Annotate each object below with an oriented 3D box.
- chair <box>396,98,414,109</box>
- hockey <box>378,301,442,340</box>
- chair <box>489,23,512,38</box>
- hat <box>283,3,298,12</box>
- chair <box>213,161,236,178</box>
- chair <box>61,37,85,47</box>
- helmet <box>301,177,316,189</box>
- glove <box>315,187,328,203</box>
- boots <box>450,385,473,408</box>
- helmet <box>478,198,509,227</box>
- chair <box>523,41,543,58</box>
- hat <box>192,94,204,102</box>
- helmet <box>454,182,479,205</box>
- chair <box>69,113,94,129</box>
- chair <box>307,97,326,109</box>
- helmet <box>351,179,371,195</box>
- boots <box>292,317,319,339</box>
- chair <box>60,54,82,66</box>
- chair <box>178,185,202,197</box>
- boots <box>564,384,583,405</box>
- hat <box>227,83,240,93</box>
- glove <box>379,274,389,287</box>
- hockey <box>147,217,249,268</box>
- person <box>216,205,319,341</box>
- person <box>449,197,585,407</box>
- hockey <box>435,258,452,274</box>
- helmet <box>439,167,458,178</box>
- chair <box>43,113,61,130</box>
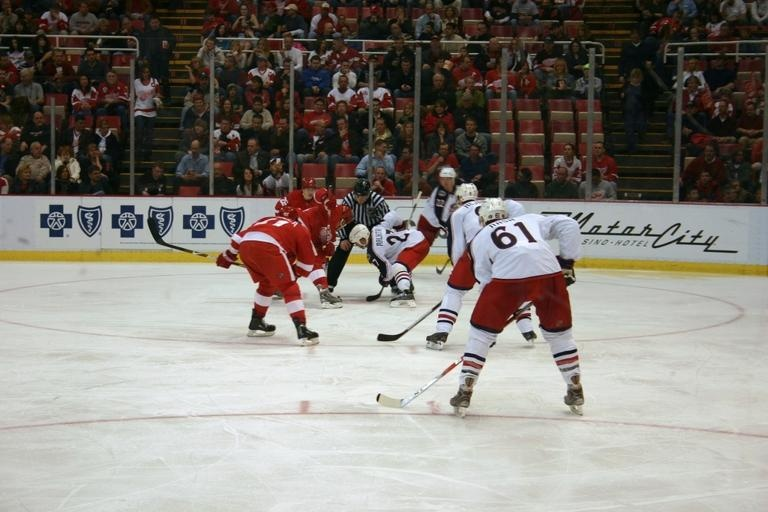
[{"bbox_3d":[0.302,-2.233,15.433,0.204,0.124,0.179,3,13,7],"label":"chair"},{"bbox_3d":[0.276,0.677,10.805,0.932,0.162,0.111,-42,1,38],"label":"hockey"},{"bbox_3d":[1.985,-3.766,17.810,0.337,0.369,0.344,2,8,3],"label":"chair"},{"bbox_3d":[-1.492,-4.063,17.276,0.148,0.059,0.196,3,0,33],"label":"hat"},{"bbox_3d":[-2.359,-1.292,15.699,0.439,0.229,0.205,2,11,1],"label":"chair"},{"bbox_3d":[-5.115,-3.518,17.401,0.316,0.205,0.300,-1,-5,-12],"label":"chair"},{"bbox_3d":[-0.871,-0.850,12.386,0.166,0.087,0.198,0,9,-10],"label":"helmet"},{"bbox_3d":[-0.712,-0.686,12.187,0.176,0.140,0.175,20,28,34],"label":"glove"},{"bbox_3d":[0.658,1.208,9.026,0.179,0.203,0.173,0,3,3],"label":"boots"},{"bbox_3d":[0.944,-0.387,9.378,0.251,0.237,0.267,1,13,0],"label":"helmet"},{"bbox_3d":[2.194,-3.017,15.546,0.365,0.270,0.233,0,23,4],"label":"chair"},{"bbox_3d":[-2.715,-2.297,15.422,0.113,0.113,0.120,1,-10,-1],"label":"hat"},{"bbox_3d":[0.885,-0.644,11.017,0.221,0.213,0.250,2,12,-4],"label":"helmet"},{"bbox_3d":[-4.479,-2.004,15.691,0.325,0.200,0.294,5,-17,-8],"label":"chair"},{"bbox_3d":[-1.001,-2.235,15.419,0.277,0.158,0.109,2,-3,0],"label":"chair"},{"bbox_3d":[-0.278,-0.855,13.264,0.208,0.179,0.213,2,-7,0],"label":"helmet"},{"bbox_3d":[-0.780,0.754,10.579,0.232,0.232,0.151,2,3,36],"label":"boots"},{"bbox_3d":[-4.760,-2.999,15.977,0.339,0.175,0.207,1,4,-9],"label":"chair"},{"bbox_3d":[-2.910,-0.959,15.781,0.373,0.192,0.174,0,-6,-4],"label":"chair"},{"bbox_3d":[1.637,1.200,9.073,0.167,0.193,0.128,0,3,6],"label":"boots"},{"bbox_3d":[-2.176,-2.431,15.398,0.229,0.164,0.047,0,3,-6],"label":"hat"},{"bbox_3d":[-0.013,0.313,13.043,0.158,0.222,0.178,1,0,-6],"label":"glove"},{"bbox_3d":[-2.194,-0.104,12.410,0.120,0.388,1.757,-33,-29,18],"label":"hockey"},{"bbox_3d":[-1.076,0.235,10.912,0.694,1.288,1.153,-3,4,-42],"label":"person"},{"bbox_3d":[1.194,0.425,9.351,1.142,1.839,1.001,0,3,6],"label":"person"},{"bbox_3d":[0.820,0.201,15.072,0.174,0.241,0.139,34,30,21],"label":"hockey"},{"bbox_3d":[0.779,-1.008,12.812,0.169,0.095,0.210,2,6,6],"label":"helmet"},{"bbox_3d":[-4.866,-1.987,15.659,0.269,0.243,0.248,-8,22,-41],"label":"chair"}]
